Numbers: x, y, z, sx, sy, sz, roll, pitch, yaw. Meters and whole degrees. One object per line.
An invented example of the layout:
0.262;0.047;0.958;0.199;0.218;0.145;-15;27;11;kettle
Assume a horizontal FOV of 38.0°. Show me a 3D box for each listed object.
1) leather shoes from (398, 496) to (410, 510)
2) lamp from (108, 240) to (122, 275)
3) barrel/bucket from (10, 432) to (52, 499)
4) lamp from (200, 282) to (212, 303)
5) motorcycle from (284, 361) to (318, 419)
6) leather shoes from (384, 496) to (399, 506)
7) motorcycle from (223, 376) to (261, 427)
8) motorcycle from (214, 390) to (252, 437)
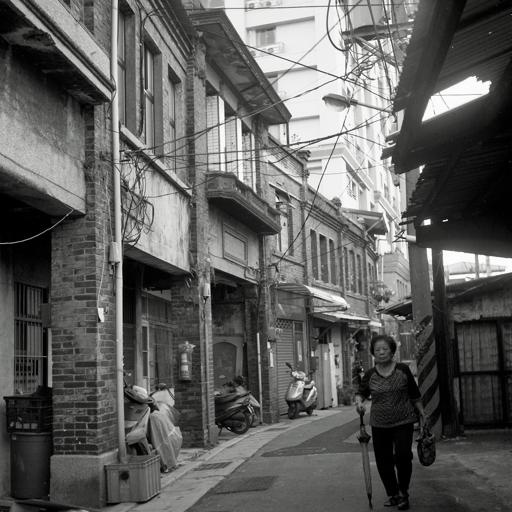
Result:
1.512;2.539;7.634;0.058;0.154;0.194;2;3;24;leather shoes
-1.893;0.006;9.905;0.150;0.460;0.192;-6;-13;9;lamp
-2.849;2.622;9.340;0.546;0.845;0.222;-8;-13;17;barrel/bucket
-0.986;0.692;14.441;0.087;0.466;0.469;-5;-14;10;lamp
1.065;3.916;21.084;0.671;1.386;1.656;-2;-16;19;motorcycle
1.410;2.554;7.756;0.063;0.092;0.192;-7;-14;38;leather shoes
-0.286;3.158;16.401;1.256;1.117;0.785;2;-11;0;motorcycle
-0.505;3.338;15.960;0.942;0.799;0.524;-3;-6;1;motorcycle
